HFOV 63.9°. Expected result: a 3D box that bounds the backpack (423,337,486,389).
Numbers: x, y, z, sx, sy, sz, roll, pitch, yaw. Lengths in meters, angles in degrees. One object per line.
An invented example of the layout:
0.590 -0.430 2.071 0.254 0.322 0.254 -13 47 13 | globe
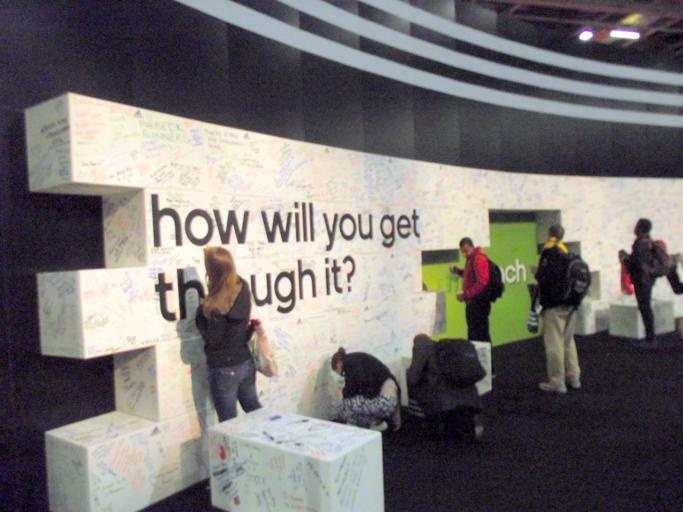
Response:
1.214 1.126 5.730 0.547 0.424 0.390 1 11 15 | backpack

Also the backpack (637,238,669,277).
4.863 0.085 8.586 0.459 0.906 0.672 -3 -3 36 | backpack

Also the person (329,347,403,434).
0.287 1.513 6.062 0.740 1.004 0.574 -2 9 36 | person

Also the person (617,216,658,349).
4.656 0.398 8.578 0.549 1.995 0.490 4 12 31 | person

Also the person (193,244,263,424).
-1.020 0.718 5.098 0.484 1.617 0.240 -4 10 -10 | person

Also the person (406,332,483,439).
1.084 1.373 5.978 0.773 1.086 1.010 -5 -10 -12 | person
